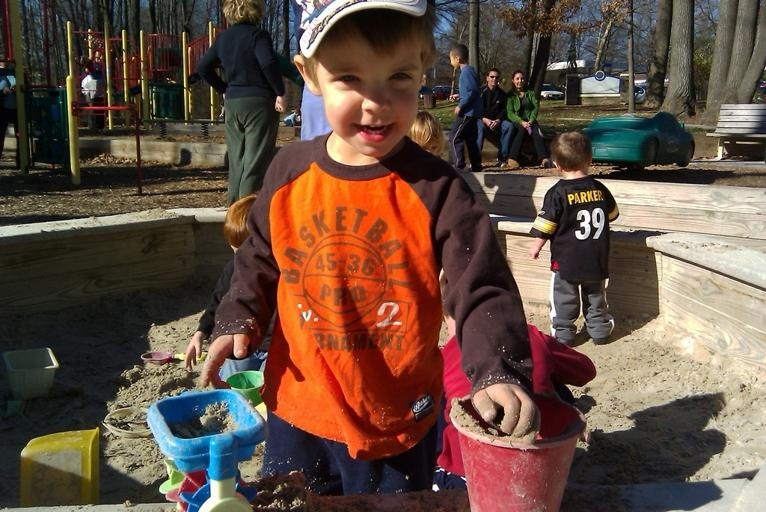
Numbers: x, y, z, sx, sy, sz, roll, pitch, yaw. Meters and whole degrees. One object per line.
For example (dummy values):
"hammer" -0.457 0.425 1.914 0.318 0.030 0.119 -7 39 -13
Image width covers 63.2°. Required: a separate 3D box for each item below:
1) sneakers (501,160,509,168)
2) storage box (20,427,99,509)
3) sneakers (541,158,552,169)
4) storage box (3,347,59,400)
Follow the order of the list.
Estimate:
"sneakers" 2.083 -1.556 10.643 0.091 0.135 0.116 -1 23 9
"storage box" -1.553 1.048 3.088 0.397 0.330 0.256 4 14 11
"sneakers" 2.719 -1.530 10.369 0.165 0.191 0.186 11 24 38
"storage box" -2.387 0.753 4.217 0.380 0.294 0.318 -7 36 -38
